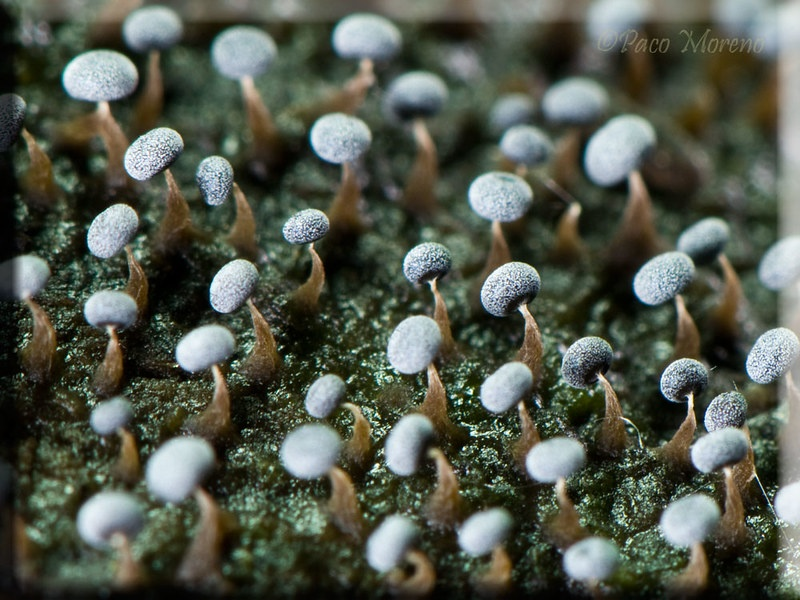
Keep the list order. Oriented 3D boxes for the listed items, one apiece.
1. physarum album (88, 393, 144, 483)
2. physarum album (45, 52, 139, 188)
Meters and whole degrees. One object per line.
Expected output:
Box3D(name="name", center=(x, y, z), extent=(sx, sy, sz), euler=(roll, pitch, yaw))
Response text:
Box3D(name="physarum album", center=(-0.411, 0.203, 1.527), extent=(0.067, 0.072, 0.130), euler=(-3, -68, 17))
Box3D(name="physarum album", center=(-0.452, -0.280, 1.693), extent=(0.117, 0.120, 0.221), euler=(-18, -63, -28))
